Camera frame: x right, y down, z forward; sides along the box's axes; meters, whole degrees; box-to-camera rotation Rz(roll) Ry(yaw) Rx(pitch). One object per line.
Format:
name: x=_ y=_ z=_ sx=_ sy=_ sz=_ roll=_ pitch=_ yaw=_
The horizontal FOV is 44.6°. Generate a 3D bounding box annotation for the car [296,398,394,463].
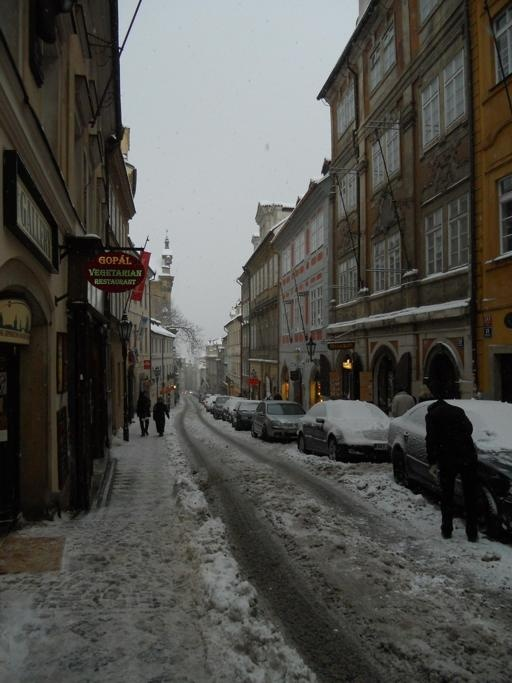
car: x=1.810 y=1.857 z=12.788 sx=1.197 sy=1.194 sz=2.846 roll=0 pitch=-2 yaw=-14

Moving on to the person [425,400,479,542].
person: x=2.043 y=1.384 z=6.570 sx=0.510 sy=1.364 sz=0.396 roll=-1 pitch=-1 yaw=23

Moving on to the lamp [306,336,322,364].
lamp: x=2.476 y=0.323 z=26.981 sx=0.522 sy=1.247 sz=2.761 roll=0 pitch=-2 yaw=6

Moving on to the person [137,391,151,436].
person: x=-3.902 y=2.524 z=21.599 sx=0.396 sy=1.549 sz=2.970 roll=0 pitch=-2 yaw=-11

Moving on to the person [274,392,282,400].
person: x=1.069 y=2.699 z=30.431 sx=0.232 sy=0.477 sz=0.777 roll=-1 pitch=-13 yaw=-11
